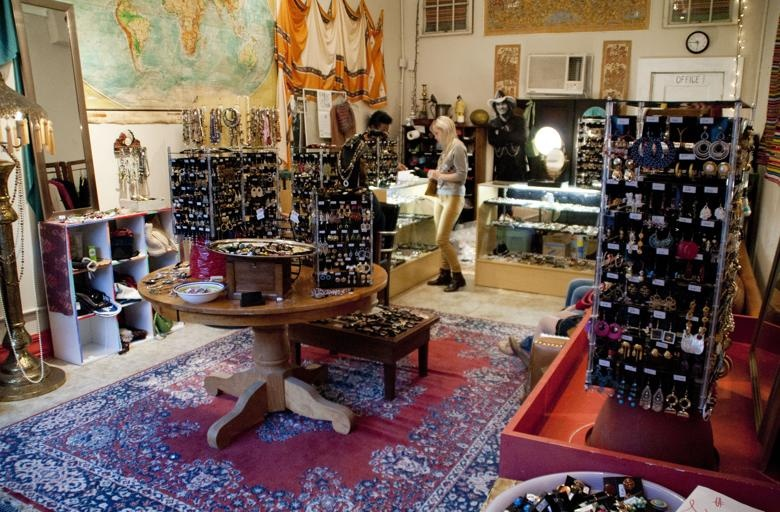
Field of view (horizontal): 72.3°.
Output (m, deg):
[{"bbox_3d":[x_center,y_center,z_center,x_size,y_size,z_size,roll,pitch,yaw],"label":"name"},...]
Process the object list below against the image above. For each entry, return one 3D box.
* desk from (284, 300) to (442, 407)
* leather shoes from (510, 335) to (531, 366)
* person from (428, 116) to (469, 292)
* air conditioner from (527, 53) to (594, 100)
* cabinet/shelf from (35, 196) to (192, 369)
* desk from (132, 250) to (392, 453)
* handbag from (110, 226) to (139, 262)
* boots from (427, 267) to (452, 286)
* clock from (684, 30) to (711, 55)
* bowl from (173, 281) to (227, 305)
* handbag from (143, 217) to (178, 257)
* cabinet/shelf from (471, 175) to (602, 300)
[{"bbox_3d":[-0.261,0.778,4.613,1.124,0.499,0.835,8,9,25],"label":"desk"},{"bbox_3d":[1.162,0.820,4.742,0.111,0.118,0.312,1,14,-3],"label":"leather shoes"},{"bbox_3d":[0.686,-0.614,6.473,0.478,2.076,0.529,0,15,4],"label":"person"},{"bbox_3d":[2.896,-2.937,9.079,1.370,0.851,0.725,4,9,27],"label":"air conditioner"},{"bbox_3d":[-2.634,0.245,5.102,0.450,1.158,1.303,4,10,19],"label":"cabinet/shelf"},{"bbox_3d":[-0.930,0.711,4.078,1.720,1.011,1.719,4,9,22],"label":"desk"},{"bbox_3d":[-2.558,-0.109,4.968,0.237,0.289,0.196,-4,7,-42],"label":"handbag"},{"bbox_3d":[0.657,0.287,6.768,0.405,0.258,0.142,3,7,15],"label":"boots"},{"bbox_3d":[4.700,-3.255,8.085,0.401,0.380,0.069,-4,11,29],"label":"clock"},{"bbox_3d":[-1.297,0.243,3.592,0.307,0.082,0.364,-12,18,-35],"label":"bowl"},{"bbox_3d":[-2.369,-0.162,5.244,0.157,0.342,0.336,-19,9,28],"label":"handbag"},{"bbox_3d":[1.744,-0.186,6.295,1.552,1.225,0.575,4,9,24],"label":"cabinet/shelf"}]
